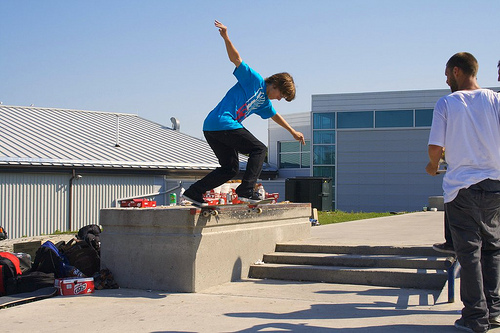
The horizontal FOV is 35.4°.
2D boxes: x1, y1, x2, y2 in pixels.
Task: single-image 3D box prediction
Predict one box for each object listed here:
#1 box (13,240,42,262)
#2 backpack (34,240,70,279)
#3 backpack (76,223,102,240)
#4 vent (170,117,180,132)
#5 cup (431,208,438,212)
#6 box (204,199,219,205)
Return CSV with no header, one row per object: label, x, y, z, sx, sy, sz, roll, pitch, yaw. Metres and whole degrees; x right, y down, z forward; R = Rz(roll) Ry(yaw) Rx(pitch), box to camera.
box,-4.827,1.835,17.028,0.605,0.316,0.536,0,-7,-4
backpack,-3.805,1.783,15.113,0.661,0.697,0.405,-3,-5,-4
backpack,-3.363,1.339,16.253,0.544,0.255,0.370,-14,3,7
vent,-4.065,-2.390,43.374,0.313,0.782,0.974,-3,-5,-16
cup,6.615,1.544,28.220,0.157,0.091,0.111,2,5,28
box,-0.755,0.746,16.532,0.182,0.071,0.221,1,1,20
